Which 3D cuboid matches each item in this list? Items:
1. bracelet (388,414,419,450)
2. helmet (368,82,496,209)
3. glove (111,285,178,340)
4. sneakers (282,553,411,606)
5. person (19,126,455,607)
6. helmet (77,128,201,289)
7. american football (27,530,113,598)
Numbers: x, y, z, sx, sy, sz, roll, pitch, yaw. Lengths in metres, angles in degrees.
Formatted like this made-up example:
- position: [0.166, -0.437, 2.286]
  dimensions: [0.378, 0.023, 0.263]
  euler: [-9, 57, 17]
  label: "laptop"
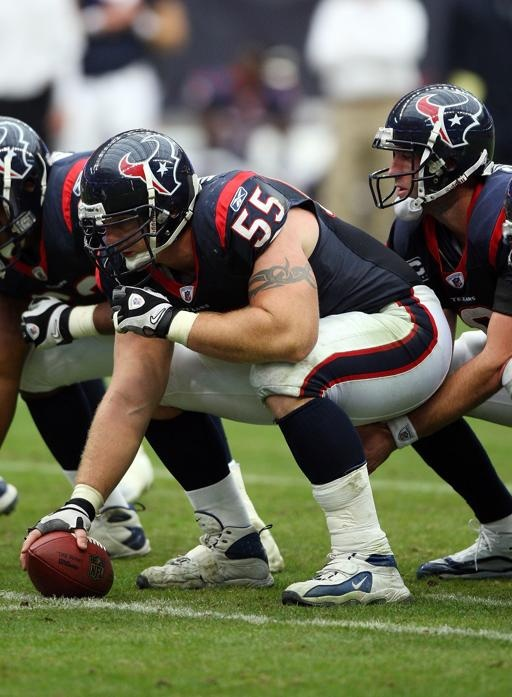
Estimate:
- position: [0.439, 0.256, 2.339]
  dimensions: [0.105, 0.094, 0.040]
  euler: [-32, 14, -15]
  label: "bracelet"
- position: [0.479, -0.661, 2.562]
  dimensions: [0.527, 0.374, 0.358]
  euler: [-7, 11, -2]
  label: "helmet"
- position: [-0.302, -0.078, 2.090]
  dimensions: [0.187, 0.166, 0.133]
  euler: [-2, 30, 3]
  label: "glove"
- position: [0.253, 0.613, 2.065]
  dimensions: [0.402, 0.143, 0.119]
  euler: [2, -10, -19]
  label: "sneakers"
- position: [-0.083, 0.105, 2.724]
  dimensions: [1.695, 1.381, 1.199]
  euler: [0, -10, -19]
  label: "person"
- position: [-0.316, -0.394, 2.170]
  dimensions: [0.285, 0.394, 0.331]
  euler: [8, 32, 20]
  label: "helmet"
- position: [-0.482, 0.569, 2.056]
  dimensions: [0.251, 0.135, 0.156]
  euler: [21, 17, -35]
  label: "american football"
